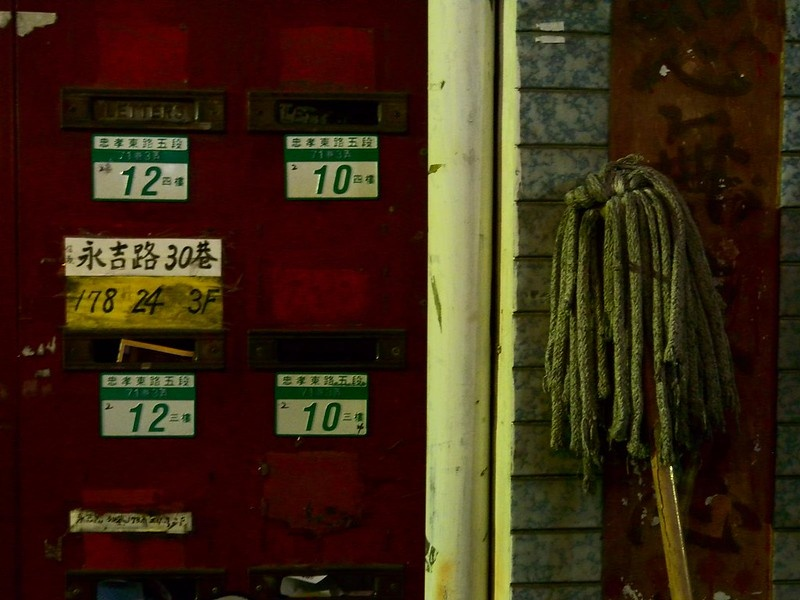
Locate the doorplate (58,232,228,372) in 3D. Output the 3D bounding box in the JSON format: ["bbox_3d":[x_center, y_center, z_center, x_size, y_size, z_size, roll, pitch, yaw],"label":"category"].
[{"bbox_3d":[-0.780,-0.003,3.937,0.537,0.340,0.207,0,3,-1],"label":"doorplate"}]

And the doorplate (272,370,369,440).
[{"bbox_3d":[-0.249,0.304,3.949,0.277,0.148,0.025,0,-1,0],"label":"doorplate"}]

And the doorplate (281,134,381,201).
[{"bbox_3d":[-0.218,-0.407,3.938,0.263,0.144,0.008,0,-1,-2],"label":"doorplate"}]

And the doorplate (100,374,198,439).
[{"bbox_3d":[-0.760,0.309,3.940,0.256,0.138,0.022,0,-2,0],"label":"doorplate"}]
